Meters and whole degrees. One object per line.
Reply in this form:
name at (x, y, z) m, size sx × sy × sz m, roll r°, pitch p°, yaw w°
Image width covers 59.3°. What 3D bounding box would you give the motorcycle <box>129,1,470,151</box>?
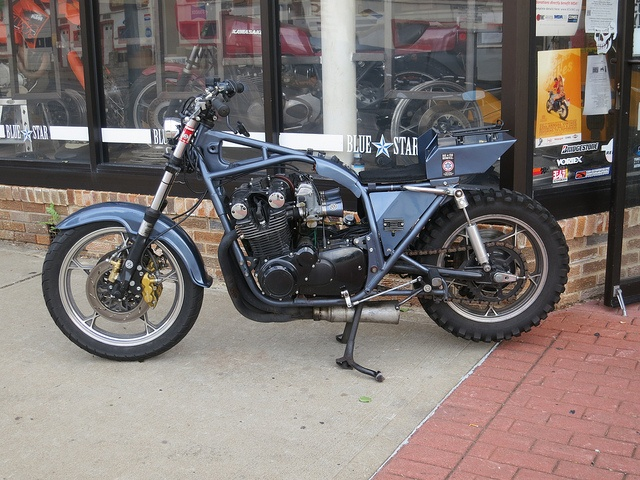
motorcycle at (-0.131, -1.493, 5.125) m, size 2.613 × 1.390 × 1.184 m, roll 4°, pitch 16°, yaw 11°
